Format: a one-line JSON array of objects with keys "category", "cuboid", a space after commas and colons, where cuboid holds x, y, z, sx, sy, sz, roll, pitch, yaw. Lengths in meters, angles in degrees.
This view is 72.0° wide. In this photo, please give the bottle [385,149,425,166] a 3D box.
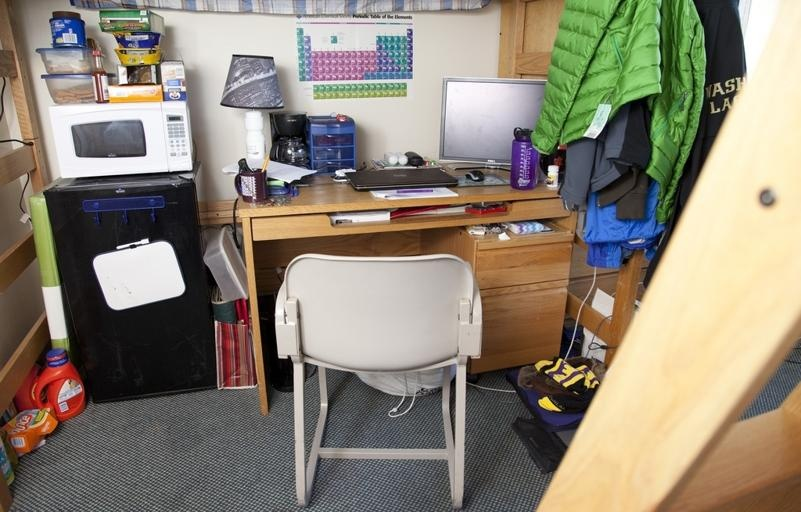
[{"category": "bottle", "cuboid": [0.018, -0.510, 2.864, 0.194, 0.061, 0.217, -6, 24, -10]}]

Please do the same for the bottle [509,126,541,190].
[{"category": "bottle", "cuboid": [0.547, -0.443, 2.507, 0.117, 0.252, 0.158, -10, 26, -16]}]

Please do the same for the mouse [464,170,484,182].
[{"category": "mouse", "cuboid": [0.360, -0.381, 2.617, 0.050, 0.031, 0.083, -3, 15, -8]}]

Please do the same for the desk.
[{"category": "desk", "cuboid": [0.267, 0.159, 2.870, 1.385, 0.821, 0.457, 0, -8, 36]}]

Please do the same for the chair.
[{"category": "chair", "cuboid": [-0.071, 0.486, 2.007, 0.707, 0.954, 0.710, 0, 32, -2]}]

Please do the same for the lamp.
[{"category": "lamp", "cuboid": [-0.697, -0.674, 2.639, 0.309, 0.531, 0.228, -3, 25, -16]}]

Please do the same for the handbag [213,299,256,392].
[{"category": "handbag", "cuboid": [-0.781, 0.456, 2.590, 0.167, 0.334, 0.039, 4, -28, -30]}]

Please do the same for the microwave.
[{"category": "microwave", "cuboid": [-1.164, -0.494, 2.414, 0.512, 0.294, 0.342, -6, 7, -9]}]

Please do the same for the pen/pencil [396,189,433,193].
[{"category": "pen/pencil", "cuboid": [0.067, -0.292, 2.446, 0.137, 0.019, 0.010, 2, -11, -13]}]

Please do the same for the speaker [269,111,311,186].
[{"category": "speaker", "cuboid": [-0.523, -0.546, 2.651, 0.223, 0.284, 0.242, -12, 19, -40]}]

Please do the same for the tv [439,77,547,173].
[{"category": "tv", "cuboid": [0.463, -0.657, 2.696, 0.590, 0.411, 0.045, 2, 22, 0]}]

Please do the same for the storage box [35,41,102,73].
[{"category": "storage box", "cuboid": [-1.358, -0.810, 2.271, 0.205, 0.110, 0.084, -12, 26, -20]}]

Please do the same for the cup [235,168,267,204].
[{"category": "cup", "cuboid": [-0.602, -0.297, 2.290, 0.121, 0.122, 0.112, -2, 24, 1]}]

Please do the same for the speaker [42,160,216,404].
[{"category": "speaker", "cuboid": [-1.137, 0.161, 2.621, 0.602, 0.959, 0.552, -10, 1, -3]}]
